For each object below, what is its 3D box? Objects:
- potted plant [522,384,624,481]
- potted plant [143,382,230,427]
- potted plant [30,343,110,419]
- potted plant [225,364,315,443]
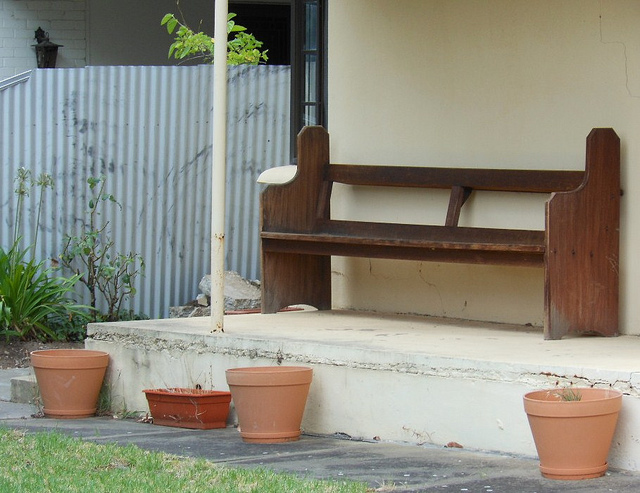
[{"bbox_3d":[1.244,0.917,4.809,0.409,0.355,0.454,0,-3,-3],"label":"potted plant"},{"bbox_3d":[-0.836,0.978,5.928,0.466,0.173,0.256,-3,-4,35],"label":"potted plant"},{"bbox_3d":[-1.678,0.892,6.383,0.457,0.385,0.449,3,-4,-9],"label":"potted plant"},{"bbox_3d":[-0.301,0.918,5.577,0.497,0.409,0.512,1,-5,-16],"label":"potted plant"}]
